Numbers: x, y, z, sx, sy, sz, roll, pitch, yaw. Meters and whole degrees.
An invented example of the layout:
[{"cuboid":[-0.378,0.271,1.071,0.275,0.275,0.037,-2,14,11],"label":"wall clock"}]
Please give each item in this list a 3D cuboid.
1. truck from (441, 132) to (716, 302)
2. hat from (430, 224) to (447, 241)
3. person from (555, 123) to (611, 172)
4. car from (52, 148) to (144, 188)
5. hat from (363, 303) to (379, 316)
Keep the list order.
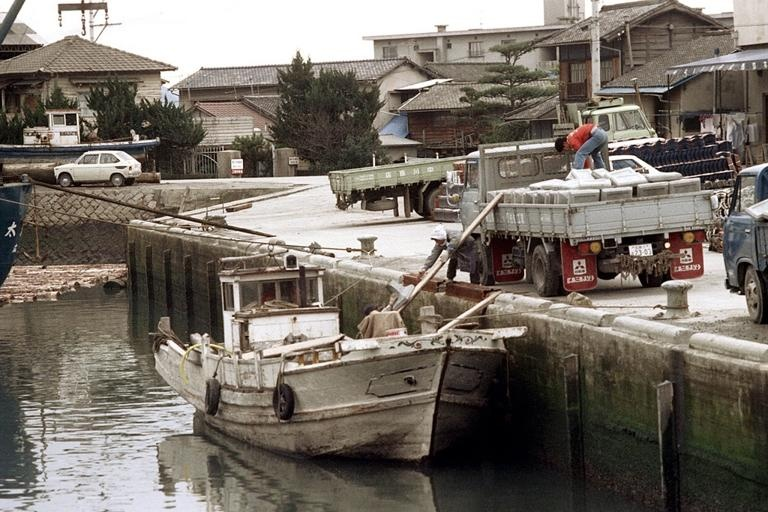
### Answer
[{"cuboid":[3.899,-0.943,28.193,2.931,2.800,5.054,-3,7,-23],"label":"truck"},{"cuboid":[1.199,-0.483,27.646,0.325,0.405,0.440,0,-3,32],"label":"hat"},{"cuboid":[4.541,-2.333,28.575,0.892,1.328,0.707,-7,-38,-12],"label":"person"},{"cuboid":[-11.390,-3.396,50.232,2.474,1.198,1.584,1,3,-2],"label":"car"},{"cuboid":[-0.299,1.178,26.590,0.258,0.221,0.230,-14,-8,-1],"label":"hat"}]
